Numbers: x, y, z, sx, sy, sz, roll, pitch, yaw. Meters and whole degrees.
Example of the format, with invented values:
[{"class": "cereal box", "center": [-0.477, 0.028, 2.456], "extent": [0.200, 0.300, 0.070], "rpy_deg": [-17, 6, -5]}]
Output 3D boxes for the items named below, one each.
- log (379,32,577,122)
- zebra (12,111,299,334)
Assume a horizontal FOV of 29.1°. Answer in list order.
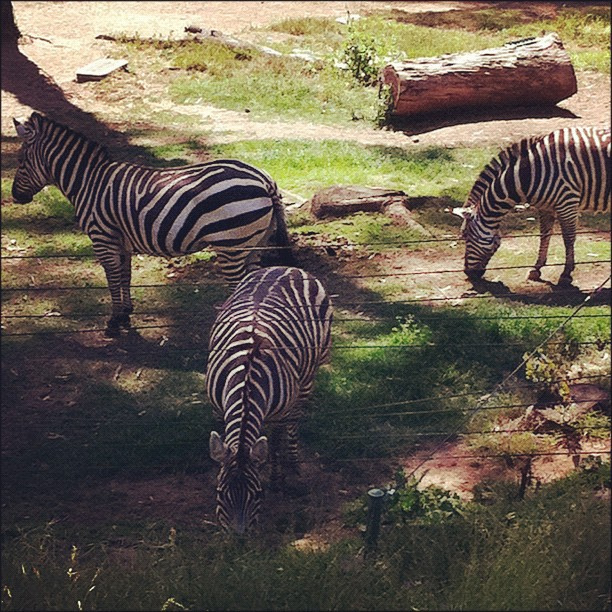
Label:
[{"class": "log", "center": [2.291, -2.948, 15.266], "extent": [2.344, 1.199, 0.838], "rpy_deg": [4, 15, 10]}, {"class": "zebra", "center": [-1.749, -0.850, 13.236], "extent": [3.547, 2.214, 0.949], "rpy_deg": [7, 16, 12]}]
